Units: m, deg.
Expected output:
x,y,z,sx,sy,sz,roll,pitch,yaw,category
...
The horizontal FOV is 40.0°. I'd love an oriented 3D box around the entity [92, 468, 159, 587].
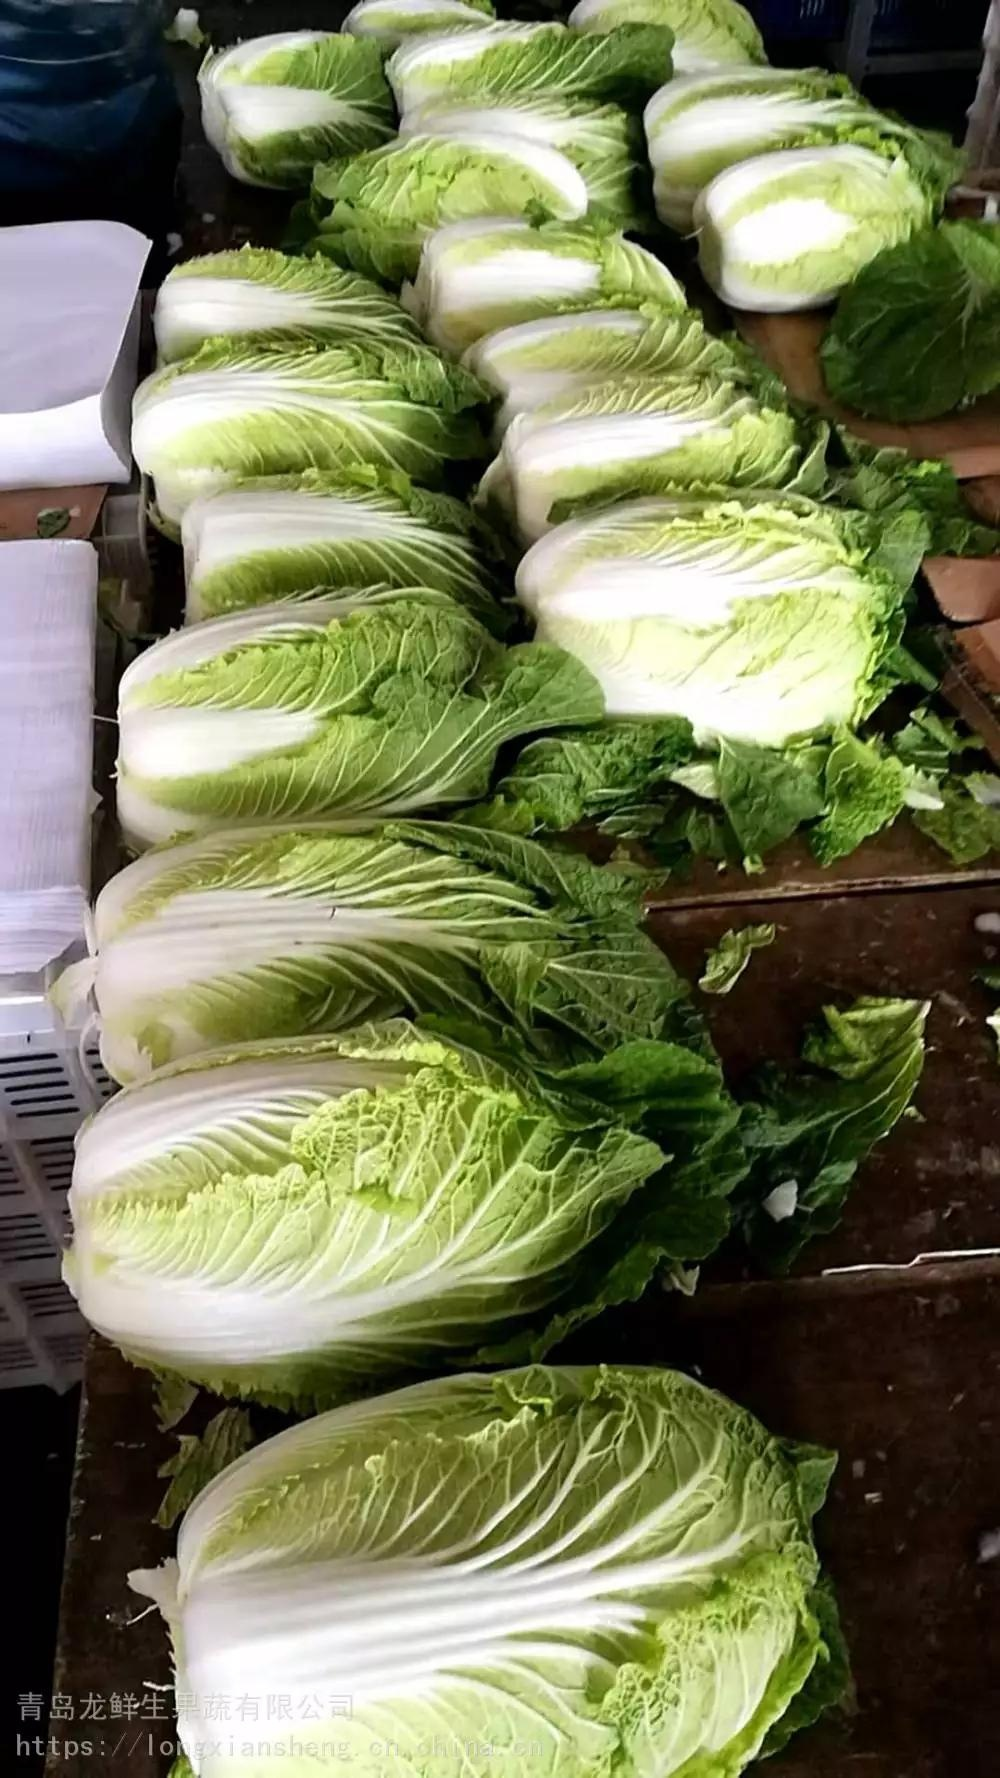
x,y,z,sx,sy,sz,roll,pitch,yaw,category
-0.764,-0.719,2.772,0.122,0.076,0.223,-4,78,-9,entity
